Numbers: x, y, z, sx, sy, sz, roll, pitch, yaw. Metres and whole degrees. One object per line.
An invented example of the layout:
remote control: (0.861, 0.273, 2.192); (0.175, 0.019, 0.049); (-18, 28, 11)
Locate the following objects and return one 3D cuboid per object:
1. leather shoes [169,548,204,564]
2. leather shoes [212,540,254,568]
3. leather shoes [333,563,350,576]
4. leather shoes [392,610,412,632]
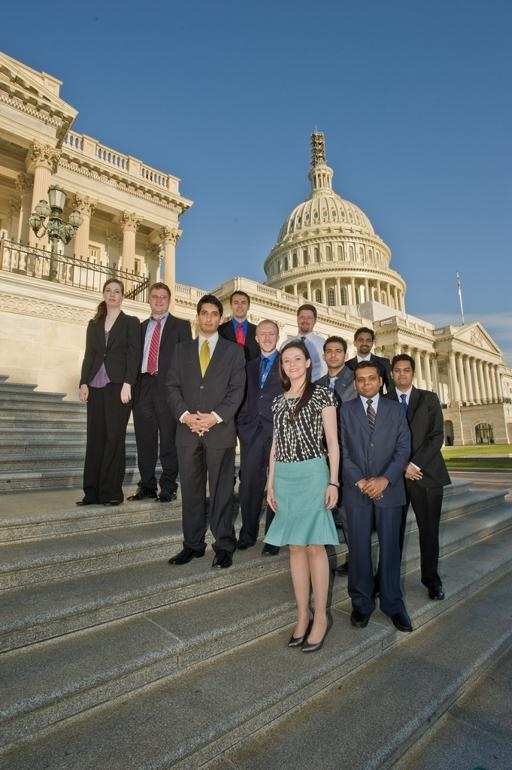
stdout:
leather shoes: (-0.535, 1.314, 4.145); (0.249, 0.100, 0.088); (10, -16, -41)
leather shoes: (-0.219, 1.318, 4.159); (0.121, 0.156, 0.365); (-4, -18, 22)
leather shoes: (0.737, 1.576, 4.637); (0.074, 0.084, 0.208); (-18, -28, 36)
leather shoes: (0.981, 1.622, 3.672); (0.133, 0.126, 0.116); (11, 5, 2)
